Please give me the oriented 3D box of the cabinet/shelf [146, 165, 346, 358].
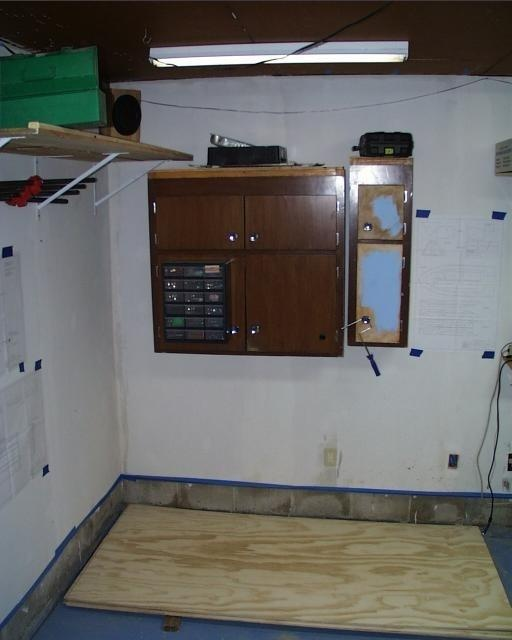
[{"bbox_3d":[-0.028,-0.339,3.028,1.049,0.916,0.484,0,10,4],"label":"cabinet/shelf"}]
